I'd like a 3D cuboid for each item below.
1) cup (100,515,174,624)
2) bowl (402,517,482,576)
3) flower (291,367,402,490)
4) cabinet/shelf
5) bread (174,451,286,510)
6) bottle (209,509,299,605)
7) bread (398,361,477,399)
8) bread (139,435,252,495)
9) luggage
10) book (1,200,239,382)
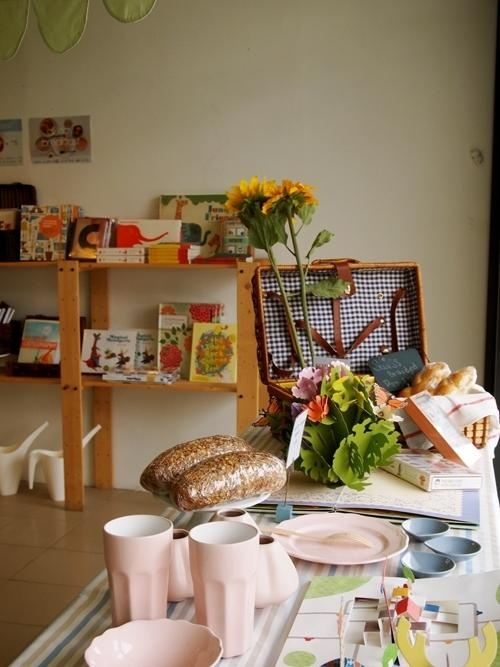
[{"bbox_3d":[-0.106,0.235,0.521,0.063,0.113,0.084,-3,4,-16],"label":"cup"},{"bbox_3d":[0.239,0.265,0.679,0.087,0.016,0.074,-2,17,-17],"label":"bowl"},{"bbox_3d":[0.149,0.162,1.027,0.226,0.237,0.213,3,-5,-34],"label":"flower"},{"bbox_3d":[-0.539,0.191,2.532,1.531,1.280,0.479,0,3,4],"label":"cabinet/shelf"},{"bbox_3d":[-0.026,0.168,0.656,0.122,0.036,0.054,-7,4,-35],"label":"bread"},{"bbox_3d":[0.028,0.247,0.599,0.118,0.054,0.074,18,-10,-37],"label":"bottle"},{"bbox_3d":[0.499,0.128,1.409,0.132,0.038,0.129,-26,17,-7],"label":"bread"},{"bbox_3d":[-0.066,0.158,0.738,0.143,0.043,0.069,-21,1,-29],"label":"bread"},{"bbox_3d":[0.284,0.039,1.624,0.667,0.578,0.491,-1,1,-18],"label":"luggage"},{"bbox_3d":[-0.657,-0.227,2.880,1.132,0.654,0.383,0,-2,8],"label":"book"}]
